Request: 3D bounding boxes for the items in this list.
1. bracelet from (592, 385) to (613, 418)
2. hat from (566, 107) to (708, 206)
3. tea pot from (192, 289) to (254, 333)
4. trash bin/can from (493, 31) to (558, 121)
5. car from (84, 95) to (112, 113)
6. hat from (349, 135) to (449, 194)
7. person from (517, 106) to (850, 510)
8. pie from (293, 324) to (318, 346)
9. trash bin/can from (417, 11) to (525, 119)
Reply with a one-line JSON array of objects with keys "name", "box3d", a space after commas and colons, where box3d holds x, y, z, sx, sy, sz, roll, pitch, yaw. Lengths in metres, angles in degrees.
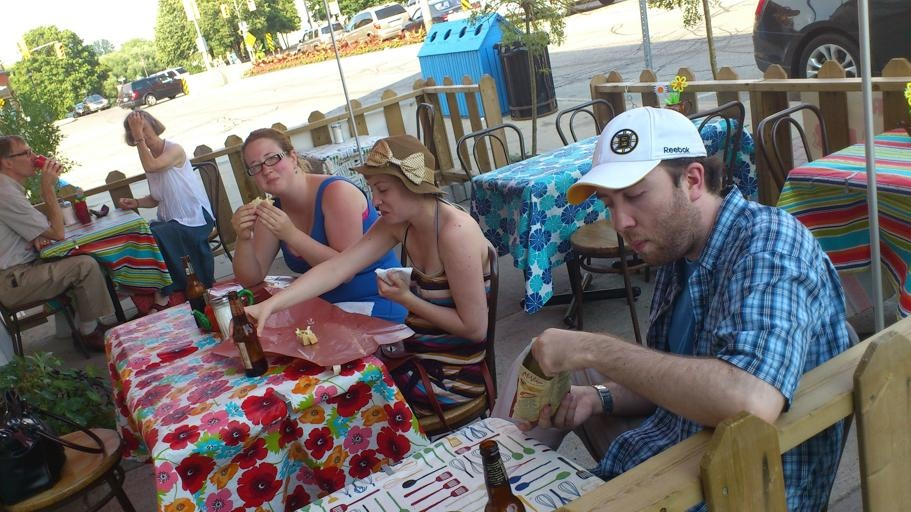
[{"name": "bracelet", "box3d": [0.695, 0.678, 2.682, 0.076, 0.124, 0.124, -7, 26, -11]}, {"name": "hat", "box3d": [0.769, -0.470, 2.478, 0.641, 0.294, 0.407, -14, 13, -28]}, {"name": "tea pot", "box3d": [-1.253, 0.316, 3.131, 0.277, 0.227, 0.166, -14, 15, -13]}, {"name": "trash bin/can", "box3d": [1.147, -2.806, 9.161, 0.938, 1.151, 0.954, 7, 33, 40]}, {"name": "car", "box3d": [-26.175, -11.030, 41.791, 1.267, 0.934, 2.223, -15, 26, -33]}, {"name": "hat", "box3d": [-0.286, -0.491, 3.065, 0.369, 0.169, 0.341, 12, 9, 3]}, {"name": "person", "box3d": [0.921, 0.267, 2.336, 1.138, 1.665, 0.800, 4, 24, 35]}, {"name": "pie", "box3d": [-0.741, 0.384, 2.842, 0.088, 0.046, 0.098, -19, 27, -31]}, {"name": "trash bin/can", "box3d": [0.330, -3.713, 10.864, 1.873, 1.469, 1.786, 0, 29, 28]}]
